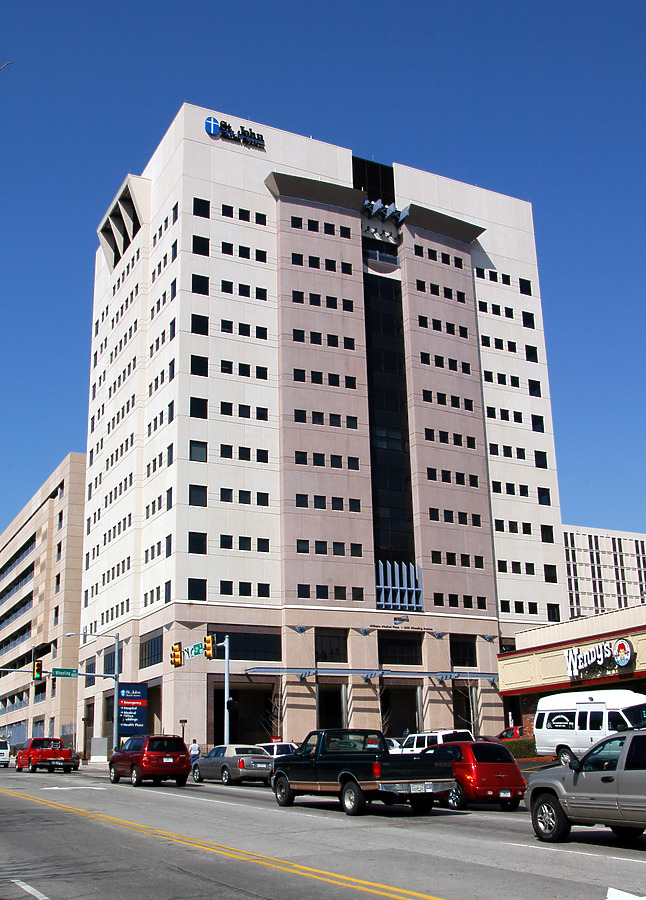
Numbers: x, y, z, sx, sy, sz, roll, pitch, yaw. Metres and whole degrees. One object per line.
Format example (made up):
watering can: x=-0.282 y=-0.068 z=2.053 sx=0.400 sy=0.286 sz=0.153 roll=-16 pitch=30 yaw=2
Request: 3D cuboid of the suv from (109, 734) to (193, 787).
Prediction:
suv: x=-6.403 y=11.438 z=33.027 sx=1.888 sy=1.476 sz=3.667 roll=10 pitch=-20 yaw=-26

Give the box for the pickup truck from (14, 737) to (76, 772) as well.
pickup truck: x=-15.308 y=16.467 z=48.125 sx=1.822 sy=1.436 sz=4.011 roll=11 pitch=-23 yaw=-27

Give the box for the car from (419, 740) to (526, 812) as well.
car: x=3.635 y=8.080 z=22.282 sx=1.439 sy=1.374 sz=2.991 roll=6 pitch=-14 yaw=-23

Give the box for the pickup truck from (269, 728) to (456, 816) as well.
pickup truck: x=0.687 y=7.434 z=21.037 sx=1.952 sy=1.591 sz=4.249 roll=13 pitch=-22 yaw=-29
